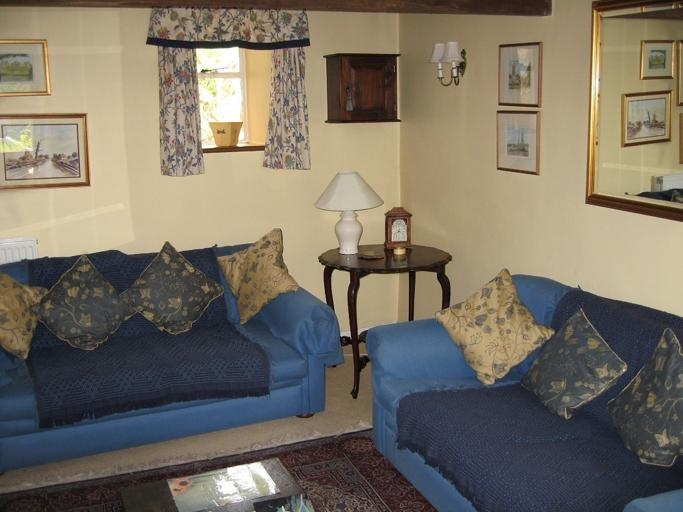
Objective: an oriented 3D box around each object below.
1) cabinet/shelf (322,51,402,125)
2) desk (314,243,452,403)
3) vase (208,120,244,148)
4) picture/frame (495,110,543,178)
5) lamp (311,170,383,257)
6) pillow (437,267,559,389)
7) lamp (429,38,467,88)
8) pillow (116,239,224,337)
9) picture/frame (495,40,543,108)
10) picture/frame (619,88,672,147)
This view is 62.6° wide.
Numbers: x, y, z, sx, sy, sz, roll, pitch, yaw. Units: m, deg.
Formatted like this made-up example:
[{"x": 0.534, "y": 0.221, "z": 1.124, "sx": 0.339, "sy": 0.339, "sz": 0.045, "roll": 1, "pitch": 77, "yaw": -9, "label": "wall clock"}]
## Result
[{"x": 0.157, "y": -1.372, "z": 4.604, "sx": 0.607, "sy": 0.530, "sz": 0.280, "roll": 0, "pitch": 14, "yaw": 0, "label": "cabinet/shelf"}, {"x": 0.328, "y": 0.480, "z": 4.338, "sx": 1.002, "sy": 1.023, "sz": 1.035, "roll": 0, "pitch": 7, "yaw": 20, "label": "desk"}, {"x": -0.932, "y": -0.984, "z": 4.535, "sx": 0.248, "sy": 0.200, "sz": 0.215, "roll": -1, "pitch": 4, "yaw": -4, "label": "vase"}, {"x": 1.162, "y": -0.738, "z": 3.656, "sx": 0.030, "sy": 0.448, "sz": 0.435, "roll": -7, "pitch": 9, "yaw": -25, "label": "picture/frame"}, {"x": 0.062, "y": -0.371, "z": 4.321, "sx": 0.564, "sy": 0.632, "sz": 0.554, "roll": -10, "pitch": 15, "yaw": -35, "label": "lamp"}, {"x": 0.832, "y": 0.404, "z": 3.111, "sx": 0.546, "sy": 0.553, "sz": 0.166, "roll": -37, "pitch": -27, "yaw": 2, "label": "pillow"}, {"x": 0.798, "y": -1.386, "z": 4.085, "sx": 0.213, "sy": 0.284, "sz": 0.309, "roll": -11, "pitch": 19, "yaw": -20, "label": "lamp"}, {"x": -1.150, "y": 0.192, "z": 3.662, "sx": 0.569, "sy": 0.541, "sz": 0.165, "roll": -52, "pitch": 8, "yaw": -21, "label": "pillow"}, {"x": 1.141, "y": -1.163, "z": 3.609, "sx": 0.017, "sy": 0.391, "sz": 0.388, "roll": -14, "pitch": 21, "yaw": -20, "label": "picture/frame"}, {"x": 1.528, "y": -0.699, "z": 2.817, "sx": 0.022, "sy": 0.323, "sz": 0.311, "roll": -5, "pitch": 8, "yaw": -28, "label": "picture/frame"}]
